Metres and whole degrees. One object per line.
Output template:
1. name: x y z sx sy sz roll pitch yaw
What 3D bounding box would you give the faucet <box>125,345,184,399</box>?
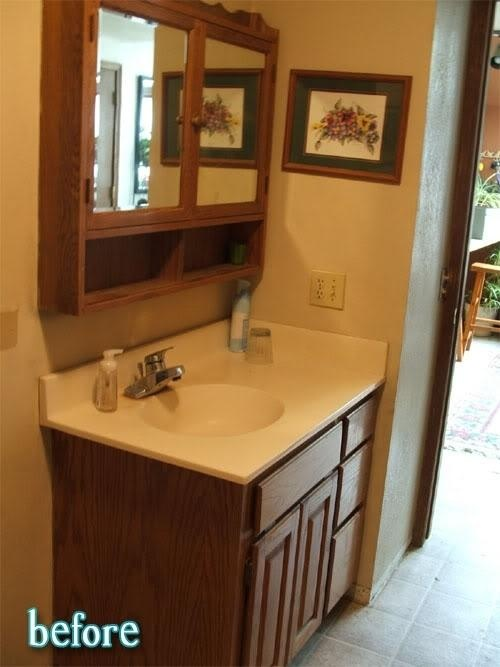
1. faucet: -0.227 0.105 1.313 0.068 0.129 0.225 0 -3 -38

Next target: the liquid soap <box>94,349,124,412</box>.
1. liquid soap: -0.329 0.095 1.244 0.062 0.136 0.151 2 9 -14

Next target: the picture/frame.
1. picture/frame: 0.306 -0.624 1.607 0.312 0.290 0.026 12 20 25

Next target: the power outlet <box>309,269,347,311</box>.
1. power outlet: 0.258 -0.146 1.753 0.109 0.121 0.011 12 17 35

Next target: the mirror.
1. mirror: -0.130 -0.509 1.268 0.045 0.501 0.743 7 9 21

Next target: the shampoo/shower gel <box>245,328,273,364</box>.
1. shampoo/shower gel: 0.031 0.036 1.717 0.073 0.101 0.098 5 15 16

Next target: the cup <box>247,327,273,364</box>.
1. cup: 0.031 0.037 1.665 0.074 0.100 0.097 3 4 19
